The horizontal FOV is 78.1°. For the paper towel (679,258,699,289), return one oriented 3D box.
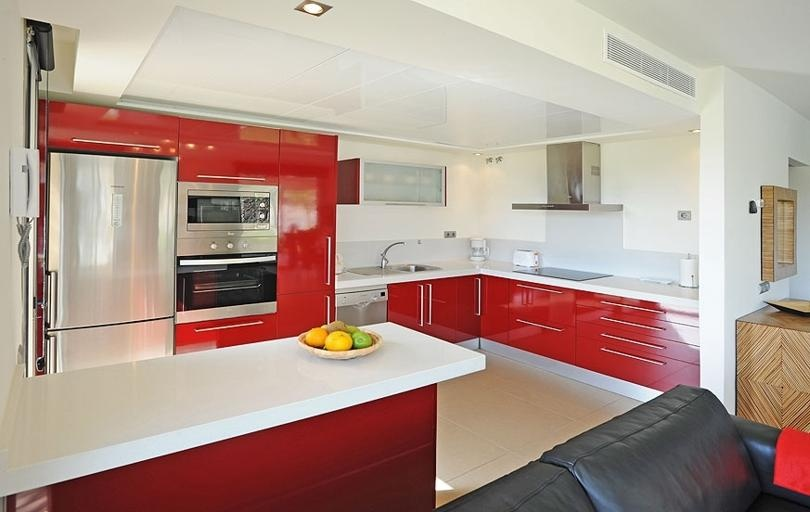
[{"bbox_3d":[2.669,0.158,4.701,0.215,0.249,0.252,3,7,33],"label":"paper towel"}]

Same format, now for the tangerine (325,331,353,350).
[{"bbox_3d":[-0.373,0.474,2.785,0.116,0.102,0.107,1,0,-3],"label":"tangerine"}]

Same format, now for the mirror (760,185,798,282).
[{"bbox_3d":[3.346,-0.207,4.482,0.735,0.858,0.162,-6,8,-42],"label":"mirror"}]

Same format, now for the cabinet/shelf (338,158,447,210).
[{"bbox_3d":[-0.120,-0.842,5.696,1.282,0.490,0.365,-4,7,-33],"label":"cabinet/shelf"}]

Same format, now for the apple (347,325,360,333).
[{"bbox_3d":[-0.303,0.429,2.948,0.060,0.031,0.073,1,1,5],"label":"apple"}]

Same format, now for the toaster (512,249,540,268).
[{"bbox_3d":[1.457,0.027,6.037,0.320,0.180,0.170,1,3,44],"label":"toaster"}]

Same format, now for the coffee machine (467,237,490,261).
[{"bbox_3d":[0.964,-0.094,6.518,0.244,0.297,0.370,0,6,11],"label":"coffee machine"}]

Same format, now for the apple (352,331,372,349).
[{"bbox_3d":[-0.249,0.476,2.825,0.091,0.087,0.097,-17,-13,41],"label":"apple"}]

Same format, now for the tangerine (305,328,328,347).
[{"bbox_3d":[-0.508,0.464,2.910,0.120,0.107,0.110,0,-22,-1],"label":"tangerine"}]
